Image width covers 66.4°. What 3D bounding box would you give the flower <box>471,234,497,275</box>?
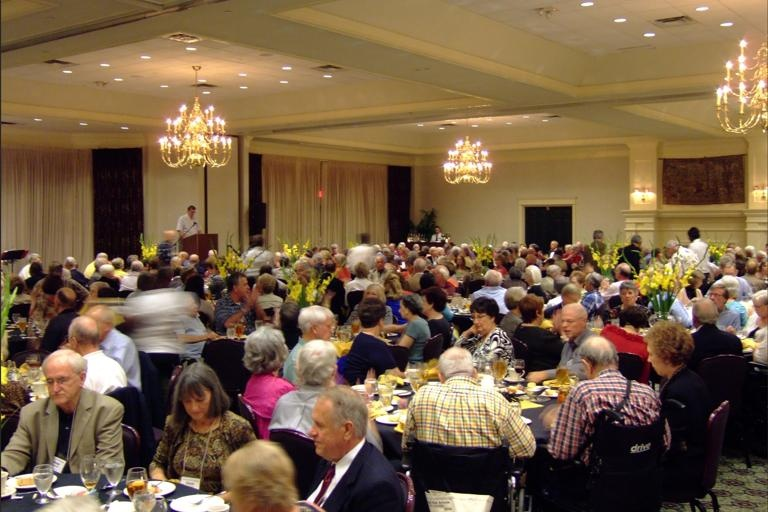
[{"bbox_3d":[2.415,-0.007,13.945,0.666,0.858,0.710,-3,-5,37],"label":"flower"}]

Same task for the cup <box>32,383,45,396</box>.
[{"bbox_3d":[-2.715,1.037,4.613,0.086,0.085,0.111,4,-5,-31],"label":"cup"}]

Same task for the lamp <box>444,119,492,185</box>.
[{"bbox_3d":[2.704,-3.152,18.997,1.394,1.803,1.466,1,1,41],"label":"lamp"}]

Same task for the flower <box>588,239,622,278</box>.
[{"bbox_3d":[4.024,0.109,10.706,0.534,0.634,0.594,-20,17,-29],"label":"flower"}]

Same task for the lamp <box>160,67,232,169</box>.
[{"bbox_3d":[-4.291,-3.184,13.480,1.557,2.274,1.464,-4,10,-35],"label":"lamp"}]

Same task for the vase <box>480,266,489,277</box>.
[{"bbox_3d":[2.120,0.320,12.454,0.124,0.172,0.170,-1,21,-15],"label":"vase"}]

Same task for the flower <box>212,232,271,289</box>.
[{"bbox_3d":[-2.339,0.035,10.409,0.993,1.101,1.097,2,7,20],"label":"flower"}]

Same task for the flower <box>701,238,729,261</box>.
[{"bbox_3d":[8.151,-0.165,14.437,0.532,0.659,0.558,-1,-8,13],"label":"flower"}]

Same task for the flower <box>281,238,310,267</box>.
[{"bbox_3d":[-2.049,-0.109,13.517,0.622,0.807,0.746,-1,2,11],"label":"flower"}]

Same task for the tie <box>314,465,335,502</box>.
[{"bbox_3d":[-0.310,1.197,3.085,0.025,0.198,0.028,19,-12,22],"label":"tie"}]
